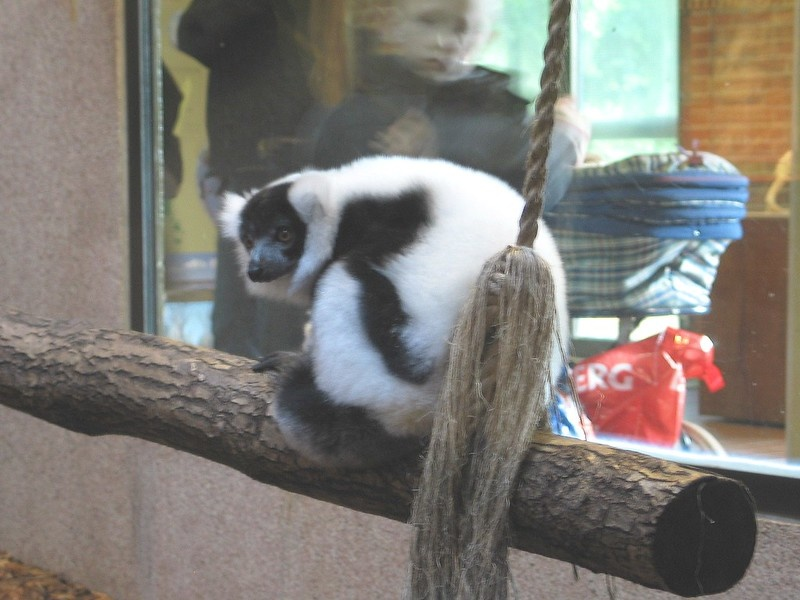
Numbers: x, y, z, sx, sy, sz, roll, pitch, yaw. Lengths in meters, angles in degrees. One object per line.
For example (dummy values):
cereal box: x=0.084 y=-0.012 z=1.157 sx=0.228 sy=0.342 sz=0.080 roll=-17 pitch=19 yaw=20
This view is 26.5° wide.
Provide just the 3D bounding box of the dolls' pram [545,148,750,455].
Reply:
dolls' pram: x=0.867 y=-0.055 z=6.349 sx=0.841 sy=0.902 sz=0.596 roll=2 pitch=12 yaw=4

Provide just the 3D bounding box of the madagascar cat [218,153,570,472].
madagascar cat: x=0.093 y=0.028 z=5.654 sx=1.362 sy=0.958 sz=0.968 roll=6 pitch=6 yaw=14

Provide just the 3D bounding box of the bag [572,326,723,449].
bag: x=0.902 y=0.316 z=6.091 sx=0.565 sy=0.443 sz=0.335 roll=4 pitch=12 yaw=17
